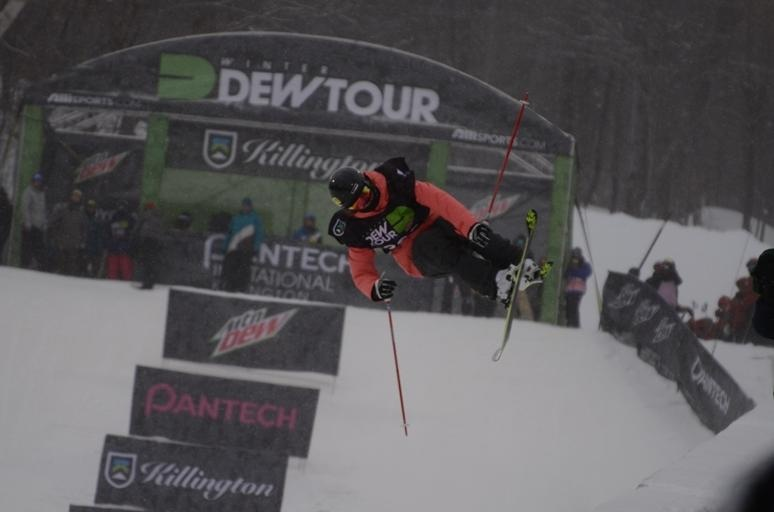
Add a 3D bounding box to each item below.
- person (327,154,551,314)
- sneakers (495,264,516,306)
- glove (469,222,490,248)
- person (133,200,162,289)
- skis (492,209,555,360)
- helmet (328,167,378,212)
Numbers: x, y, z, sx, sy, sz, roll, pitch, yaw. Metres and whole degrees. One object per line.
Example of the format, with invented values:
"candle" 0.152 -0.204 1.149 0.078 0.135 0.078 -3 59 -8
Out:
"person" 0.377 -0.197 17.394 2.781 1.590 1.109 24 31 -28
"sneakers" 1.471 0.325 16.732 0.193 0.462 0.277 19 4 -34
"glove" 1.161 -0.286 16.872 0.273 0.345 0.239 9 13 10
"person" -3.334 -0.172 18.744 0.307 1.202 0.264 4 13 -10
"skis" 1.806 0.390 18.012 0.288 2.106 0.167 15 -4 -40
"helmet" -0.476 -0.897 17.121 0.540 0.463 0.579 25 5 -13
